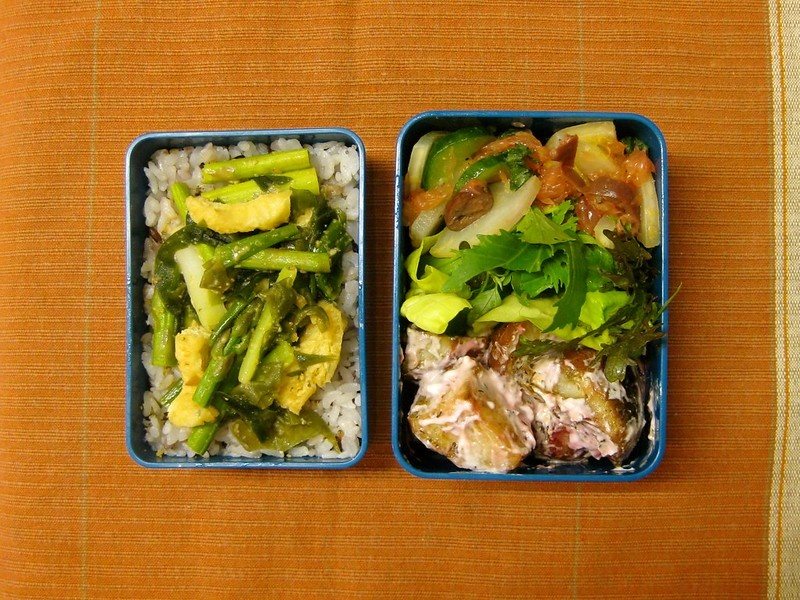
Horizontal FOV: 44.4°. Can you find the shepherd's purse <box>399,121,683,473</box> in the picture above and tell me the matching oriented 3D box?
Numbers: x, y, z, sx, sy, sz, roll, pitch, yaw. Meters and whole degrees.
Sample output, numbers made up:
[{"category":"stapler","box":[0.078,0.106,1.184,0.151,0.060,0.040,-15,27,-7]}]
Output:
[{"category":"shepherd's purse","box":[0.618,-0.023,4.480,1.107,0.509,1.610,0,92,2]}]

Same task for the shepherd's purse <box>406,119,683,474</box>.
[{"category":"shepherd's purse","box":[0.622,-0.010,4.553,1.292,0.466,1.657,1,79,1]}]

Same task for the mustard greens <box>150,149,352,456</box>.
[{"category":"mustard greens","box":[-0.715,-0.007,4.665,1.025,0.430,1.474,-1,79,1]}]
